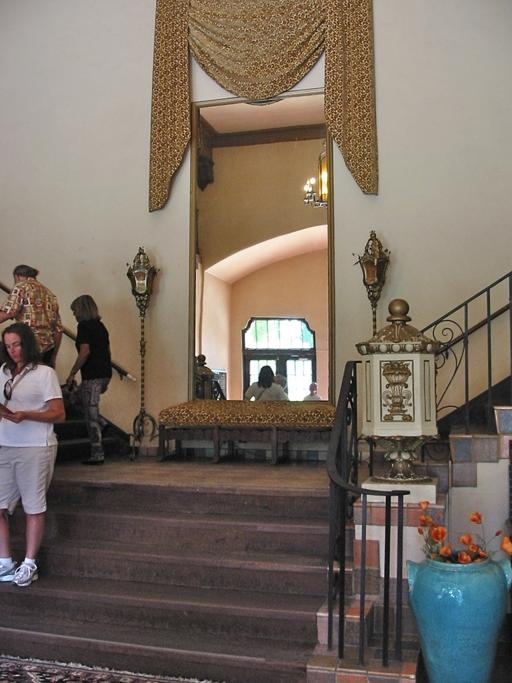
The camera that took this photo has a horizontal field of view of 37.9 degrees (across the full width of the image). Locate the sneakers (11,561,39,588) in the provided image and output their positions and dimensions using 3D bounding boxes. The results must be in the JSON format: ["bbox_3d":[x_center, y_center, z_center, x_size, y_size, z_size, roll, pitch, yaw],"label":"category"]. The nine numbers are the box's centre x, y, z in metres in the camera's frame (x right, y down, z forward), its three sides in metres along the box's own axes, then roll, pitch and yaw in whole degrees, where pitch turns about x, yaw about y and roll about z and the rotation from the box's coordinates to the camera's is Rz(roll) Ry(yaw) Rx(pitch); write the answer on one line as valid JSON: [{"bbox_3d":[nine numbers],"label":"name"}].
[{"bbox_3d":[-1.214,1.210,3.918,0.126,0.135,0.134,3,-6,-15],"label":"sneakers"}]

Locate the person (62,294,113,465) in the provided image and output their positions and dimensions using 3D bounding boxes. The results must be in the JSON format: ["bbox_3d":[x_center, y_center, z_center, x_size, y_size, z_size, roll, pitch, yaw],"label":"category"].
[{"bbox_3d":[-1.236,0.282,5.517,0.302,1.246,0.270,5,-7,-24],"label":"person"}]

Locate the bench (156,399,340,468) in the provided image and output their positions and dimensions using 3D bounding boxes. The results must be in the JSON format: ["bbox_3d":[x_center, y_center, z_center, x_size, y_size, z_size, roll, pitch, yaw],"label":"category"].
[{"bbox_3d":[-0.074,0.707,5.882,1.356,0.489,0.780,1,-5,4],"label":"bench"}]

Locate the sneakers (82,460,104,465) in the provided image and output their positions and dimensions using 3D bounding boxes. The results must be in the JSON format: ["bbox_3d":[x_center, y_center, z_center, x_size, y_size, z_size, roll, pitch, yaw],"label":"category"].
[{"bbox_3d":[-1.215,0.888,5.537,0.145,0.057,0.050,4,-5,-4],"label":"sneakers"}]
